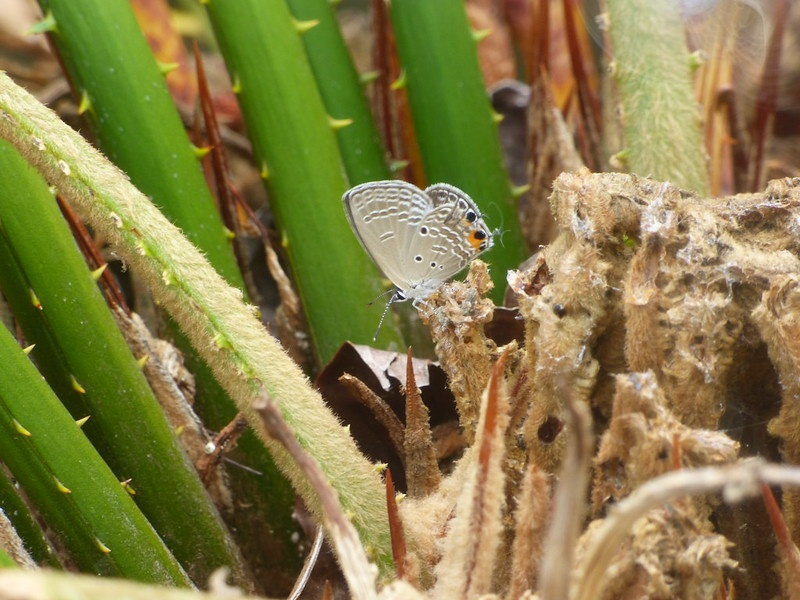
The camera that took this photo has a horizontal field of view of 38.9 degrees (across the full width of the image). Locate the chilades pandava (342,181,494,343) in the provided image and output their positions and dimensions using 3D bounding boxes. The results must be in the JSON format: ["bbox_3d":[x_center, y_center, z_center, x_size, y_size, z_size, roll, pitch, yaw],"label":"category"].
[{"bbox_3d":[0.020,-0.059,1.435,0.175,0.147,0.195,-25,17,-18],"label":"chilades pandava"}]
